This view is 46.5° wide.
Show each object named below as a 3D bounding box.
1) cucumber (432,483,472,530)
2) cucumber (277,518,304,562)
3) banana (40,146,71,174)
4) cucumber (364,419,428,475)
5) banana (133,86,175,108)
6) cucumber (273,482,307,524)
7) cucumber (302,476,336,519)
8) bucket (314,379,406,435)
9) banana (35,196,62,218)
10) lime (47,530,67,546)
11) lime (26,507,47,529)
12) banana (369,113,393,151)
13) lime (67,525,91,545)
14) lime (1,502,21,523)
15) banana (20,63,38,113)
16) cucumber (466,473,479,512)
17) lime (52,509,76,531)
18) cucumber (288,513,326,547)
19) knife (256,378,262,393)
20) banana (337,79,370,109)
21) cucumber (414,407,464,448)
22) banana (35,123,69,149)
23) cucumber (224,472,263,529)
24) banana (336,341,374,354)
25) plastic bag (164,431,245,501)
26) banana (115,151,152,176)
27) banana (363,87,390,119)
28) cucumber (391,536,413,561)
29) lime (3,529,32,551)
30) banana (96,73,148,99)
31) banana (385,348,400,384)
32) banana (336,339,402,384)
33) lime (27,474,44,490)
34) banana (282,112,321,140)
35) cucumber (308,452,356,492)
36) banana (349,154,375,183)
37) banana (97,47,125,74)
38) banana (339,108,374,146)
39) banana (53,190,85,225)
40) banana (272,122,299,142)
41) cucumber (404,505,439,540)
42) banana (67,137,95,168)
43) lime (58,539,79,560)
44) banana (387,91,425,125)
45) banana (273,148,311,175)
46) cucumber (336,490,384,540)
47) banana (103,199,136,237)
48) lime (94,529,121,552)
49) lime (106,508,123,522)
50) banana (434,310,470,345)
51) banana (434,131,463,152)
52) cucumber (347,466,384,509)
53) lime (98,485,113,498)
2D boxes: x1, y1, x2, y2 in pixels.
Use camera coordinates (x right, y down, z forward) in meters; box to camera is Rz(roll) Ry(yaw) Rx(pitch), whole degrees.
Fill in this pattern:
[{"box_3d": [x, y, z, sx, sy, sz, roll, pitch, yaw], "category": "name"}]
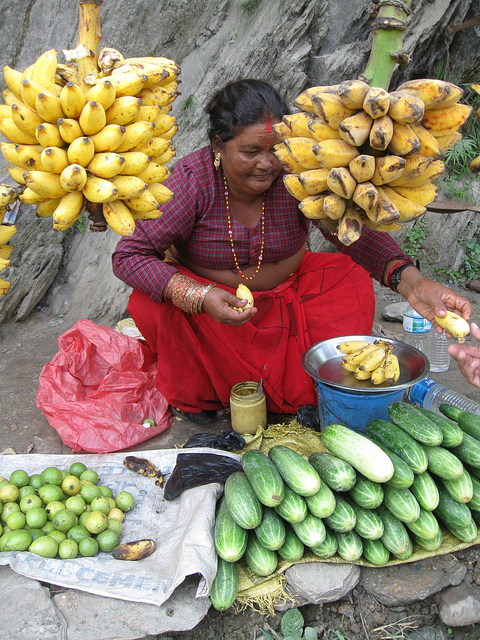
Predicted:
[{"box_3d": [0.817, 0.733, 2.202, 0.106, 0.060, 0.191, 1, 17, -10], "category": "cucumber"}, {"box_3d": [0.200, 0.877, 2.166, 0.093, 0.075, 0.197, -7, 1, 1], "category": "cucumber"}, {"box_3d": [-0.548, -0.471, 1.648, 0.066, 0.052, 0.089, -21, 10, -2], "category": "banana"}, {"box_3d": [0.633, 0.514, 2.283, 0.089, 0.083, 0.284, 33, 5, -22], "category": "cucumber"}, {"box_3d": [-0.286, -0.749, 1.863, 0.177, 0.053, 0.046, -15, 33, -36], "category": "banana"}, {"box_3d": [0.205, 0.697, 2.150, 0.107, 0.084, 0.208, -21, 17, -2], "category": "cucumber"}, {"box_3d": [0.325, 0.701, 2.151, 0.117, 0.084, 0.218, -10, -1, 12], "category": "cucumber"}, {"box_3d": [0.522, 0.402, 2.559, 0.374, 0.291, 0.304, -1, 20, -1], "category": "bucket"}, {"box_3d": [-0.642, -0.377, 1.869, 0.054, 0.040, 0.157, -31, 3, -29], "category": "banana"}, {"box_3d": [-0.727, 0.872, 2.230, 0.052, 0.051, 0.046, -5, 21, 16], "category": "lime"}, {"box_3d": [-0.822, 0.802, 2.281, 0.075, 0.063, 0.089, 9, 7, -5], "category": "lime"}, {"box_3d": [0.402, -0.531, 1.597, 0.058, 0.038, 0.111, 11, 40, 12], "category": "banana"}, {"box_3d": [-0.652, 0.863, 2.250, 0.068, 0.059, 0.081, 27, 19, 29], "category": "lime"}, {"box_3d": [-0.965, 0.805, 2.339, 0.085, 0.071, 0.091, -7, -10, 3], "category": "lime"}, {"box_3d": [-0.641, -0.720, 1.689, 0.064, 0.155, 0.048, 4, -11, -30], "category": "banana"}, {"box_3d": [0.925, 0.684, 2.210, 0.050, 0.140, 0.044, 10, -18, 2], "category": "cucumber"}, {"box_3d": [-0.723, 0.823, 2.292, 0.077, 0.064, 0.093, 0, -2, 3], "category": "lime"}, {"box_3d": [0.262, 0.786, 2.077, 0.105, 0.083, 0.117, -14, 34, -11], "category": "cucumber"}, {"box_3d": [0.100, 0.352, 2.991, 0.014, 0.079, 0.007, 21, -4, 42], "category": "knife"}, {"box_3d": [0.323, -0.641, 1.606, 0.070, 0.054, 0.095, -30, -7, 32], "category": "banana"}, {"box_3d": [0.832, 0.451, 2.371, 0.098, 0.093, 0.303, -49, 16, -2], "category": "cucumber"}, {"box_3d": [-0.565, -0.548, 1.664, 0.056, 0.049, 0.083, -41, 20, -2], "category": "banana"}, {"box_3d": [0.011, 0.694, 2.175, 0.144, 0.107, 0.269, -10, 32, -14], "category": "cucumber"}, {"box_3d": [0.560, 0.136, 2.741, 0.191, 0.049, 0.052, -6, -1, -28], "category": "banana"}, {"box_3d": [-0.175, 0.673, 2.592, 0.408, 0.141, 0.432, -14, 21, -8], "category": "plastic bag"}, {"box_3d": [-0.335, -0.493, 1.757, 0.043, 0.050, 0.121, -4, -1, -43], "category": "banana"}, {"box_3d": [0.385, -0.612, 1.569, 0.069, 0.079, 0.057, -18, -9, 19], "category": "banana"}, {"box_3d": [0.608, 0.869, 2.129, 0.069, 0.052, 0.080, -28, 65, 7], "category": "cucumber"}, {"box_3d": [-0.863, 0.863, 2.177, 0.085, 0.058, 0.085, -1, 34, 8], "category": "lime"}, {"box_3d": [-0.367, -0.724, 1.740, 0.136, 0.061, 0.048, -30, -2, -26], "category": "banana"}, {"box_3d": [0.682, 0.214, 2.531, 0.056, 0.054, 0.176, 1, 30, 9], "category": "banana"}, {"box_3d": [0.617, 0.183, 2.579, 0.196, 0.080, 0.257, 31, 21, 20], "category": "banana"}, {"box_3d": [-0.926, 0.737, 2.522, 0.049, 0.047, 0.060, -41, -5, 22], "category": "lime"}, {"box_3d": [0.197, -0.634, 1.814, 0.074, 0.049, 0.166, 6, 10, -12], "category": "banana"}, {"box_3d": [0.360, 0.596, 2.210, 0.086, 0.066, 0.217, 4, 12, -24], "category": "cucumber"}, {"box_3d": [0.359, -0.452, 1.657, 0.069, 0.050, 0.081, 9, 17, 5], "category": "banana"}, {"box_3d": [-0.420, -0.825, 1.790, 0.114, 0.086, 0.037, 3, -3, -3], "category": "banana"}, {"box_3d": [0.335, -0.579, 1.679, 0.054, 0.104, 0.152, -40, 23, 42], "category": "banana"}, {"box_3d": [-0.535, -0.352, 1.749, 0.060, 0.053, 0.171, 2, 30, 9], "category": "banana"}, {"box_3d": [0.139, -0.671, 1.968, 0.132, 0.042, 0.041, 34, 66, 27], "category": "banana"}, {"box_3d": [0.696, 0.774, 2.113, 0.101, 0.088, 0.113, -20, 36, -19], "category": "cucumber"}, {"box_3d": [-0.473, -0.497, 1.665, 0.068, 0.090, 0.051, 10, 61, -22], "category": "banana"}, {"box_3d": [-0.670, 0.898, 2.178, 0.060, 0.049, 0.071, 1, 3, -6], "category": "lime"}, {"box_3d": [0.472, -0.613, 1.625, 0.087, 0.089, 0.153, -8, 33, -2], "category": "banana"}, {"box_3d": [0.173, -0.542, 1.941, 0.164, 0.049, 0.056, 34, 44, 12], "category": "banana"}, {"box_3d": [0.451, 0.743, 2.101, 0.067, 0.055, 0.220, -28, -3, -8], "category": "cucumber"}, {"box_3d": [-0.397, -0.334, 1.872, 0.079, 0.141, 0.050, -36, -12, 7], "category": "banana"}, {"box_3d": [-0.528, 0.886, 2.236, 0.091, 0.072, 0.103, -14, -15, 30], "category": "lime"}, {"box_3d": [-0.539, 0.835, 2.387, 0.073, 0.053, 0.051, 7, 48, -16], "category": "lime"}, {"box_3d": [0.889, 0.027, 2.309, 0.084, 0.052, 0.165, -47, 44, 7], "category": "banana"}, {"box_3d": [0.683, -0.571, 1.815, 0.047, 0.050, 0.171, -13, -2, 35], "category": "banana"}, {"box_3d": [0.495, 0.683, 2.206, 0.123, 0.094, 0.244, -11, -3, -8], "category": "cucumber"}, {"box_3d": [-0.600, 0.769, 2.498, 0.057, 0.055, 0.051, -11, 5, 4], "category": "lime"}]
